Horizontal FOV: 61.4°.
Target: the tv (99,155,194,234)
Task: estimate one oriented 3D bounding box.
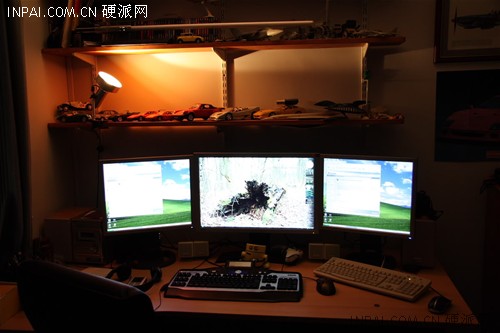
[{"bbox_3d":[-0.682,0.179,2.768,0.610,0.428,0.043,-2,5,-7],"label":"tv"}]

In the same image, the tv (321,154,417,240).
[{"bbox_3d":[0.766,0.181,2.685,0.643,0.463,0.045,2,4,16],"label":"tv"}]

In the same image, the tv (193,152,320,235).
[{"bbox_3d":[0.072,0.162,2.780,0.644,0.349,0.023,0,3,3],"label":"tv"}]
